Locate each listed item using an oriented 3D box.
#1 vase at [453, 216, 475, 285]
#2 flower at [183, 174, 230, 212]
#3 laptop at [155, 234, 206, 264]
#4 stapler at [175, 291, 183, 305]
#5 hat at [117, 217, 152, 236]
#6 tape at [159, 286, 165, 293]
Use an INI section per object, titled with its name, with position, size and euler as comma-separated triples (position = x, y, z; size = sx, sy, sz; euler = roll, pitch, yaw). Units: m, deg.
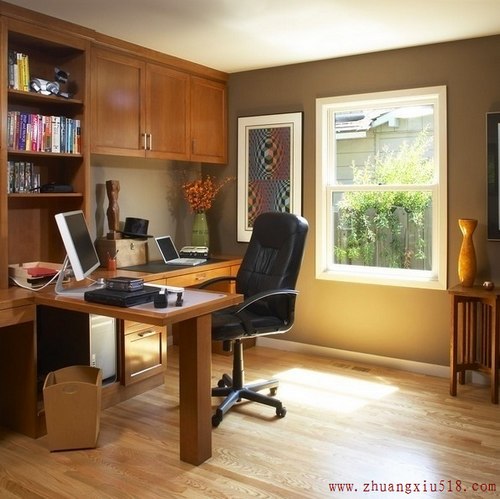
[vase]
position = 1.487, 0.017, 3.298
size = 0.126, 0.460, 0.132
euler = 3, 5, 29
[flower]
position = -0.485, -0.525, 4.453
size = 0.426, 0.350, 0.447
euler = 3, 5, 35
[laptop]
position = -0.614, 0.001, 3.931
size = 0.291, 0.190, 0.278
euler = 1, 3, 14
[stapler]
position = -0.332, 0.234, 2.232
size = 0.047, 0.080, 0.048
euler = 2, 5, -5
[hat]
position = -0.909, -0.175, 3.764
size = 0.183, 0.100, 0.179
euler = 0, 3, -1
[tape]
position = -0.419, 0.191, 2.244
size = 0.025, 0.030, 0.025
euler = 0, -3, 10
